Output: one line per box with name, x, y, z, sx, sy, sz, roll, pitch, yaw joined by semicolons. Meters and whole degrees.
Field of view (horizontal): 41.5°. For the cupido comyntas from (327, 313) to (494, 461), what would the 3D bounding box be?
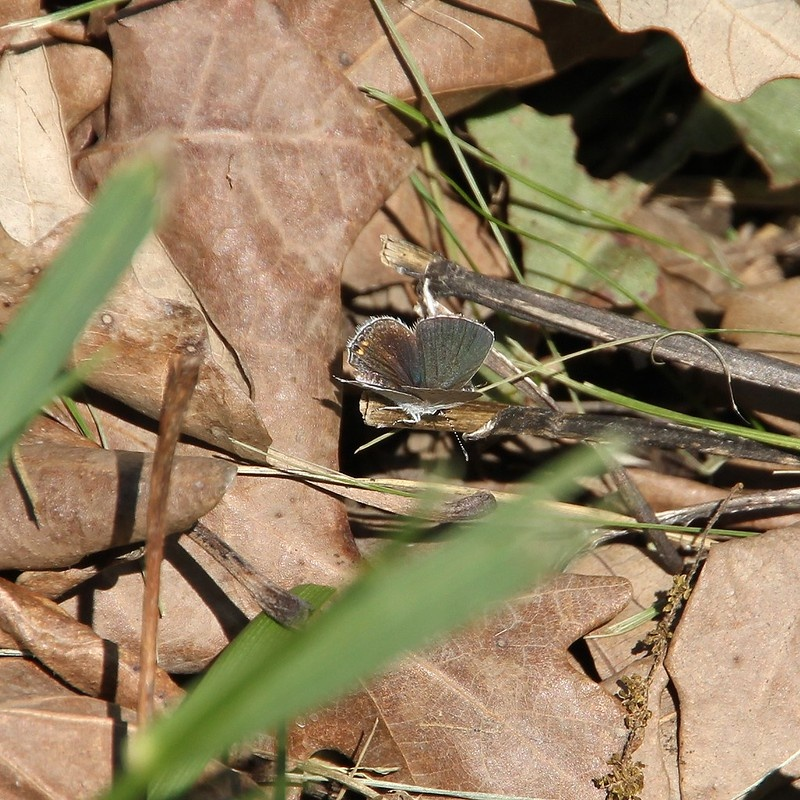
cupido comyntas;0.017;-0.060;1.894;0.226;0.099;0.199;16;18;-10
